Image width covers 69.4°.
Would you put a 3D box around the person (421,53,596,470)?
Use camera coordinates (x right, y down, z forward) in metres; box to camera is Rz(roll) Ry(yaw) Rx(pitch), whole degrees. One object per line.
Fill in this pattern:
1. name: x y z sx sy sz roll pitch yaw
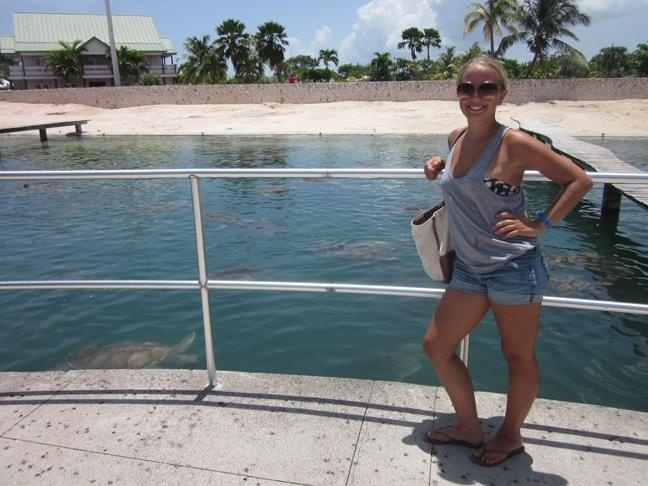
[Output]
1. person: 0.885 0.078 2.391 0.773 1.996 0.816 -2 20 2

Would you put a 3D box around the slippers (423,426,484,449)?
1. slippers: 0.692 1.037 2.496 0.306 0.055 0.109 3 7 12

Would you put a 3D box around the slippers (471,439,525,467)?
1. slippers: 0.878 1.071 2.380 0.277 0.057 0.095 -2 14 -9
